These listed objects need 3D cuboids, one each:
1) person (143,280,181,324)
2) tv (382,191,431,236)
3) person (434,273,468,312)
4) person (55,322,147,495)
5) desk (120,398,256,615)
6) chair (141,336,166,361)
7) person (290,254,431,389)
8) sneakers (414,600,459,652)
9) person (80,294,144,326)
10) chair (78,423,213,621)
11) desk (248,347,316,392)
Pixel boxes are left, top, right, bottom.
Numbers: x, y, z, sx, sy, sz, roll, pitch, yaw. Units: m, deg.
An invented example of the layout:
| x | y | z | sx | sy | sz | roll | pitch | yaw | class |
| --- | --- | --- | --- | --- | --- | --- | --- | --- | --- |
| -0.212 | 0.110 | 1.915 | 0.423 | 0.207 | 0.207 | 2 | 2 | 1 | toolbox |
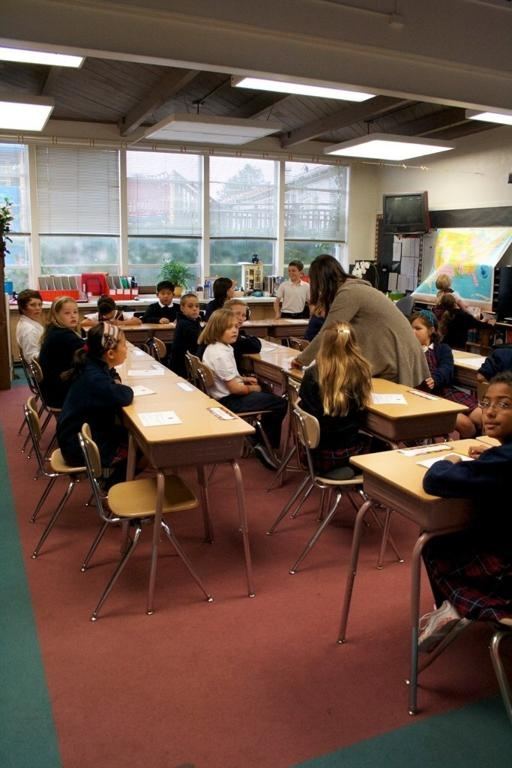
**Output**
| x | y | z | sx | sy | sz | roll | pitch | yaw | class |
| --- | --- | --- | --- | --- | --- | --- | --- | --- | --- |
| -1.223 | -1.019 | 6.970 | 0.578 | 0.734 | 0.738 | 1 | 17 | -12 | person |
| 2.670 | -3.019 | 9.468 | 0.467 | 0.665 | 0.836 | -11 | 14 | -36 | tv |
| 2.195 | -1.049 | 6.001 | 0.329 | 0.417 | 1.199 | 3 | 7 | 21 | person |
| -0.786 | 0.198 | 2.860 | 0.538 | 1.019 | 0.432 | -8 | 10 | -23 | person |
| -0.349 | 0.615 | 2.605 | 0.325 | 0.530 | 0.820 | -2 | 10 | -17 | desk |
| -1.073 | -0.387 | 5.835 | 0.272 | 0.333 | 0.348 | -1 | 7 | -16 | chair |
| 0.622 | -0.282 | 3.578 | 0.826 | 1.125 | 0.625 | -8 | 13 | 2 | person |
| 0.581 | 0.745 | 1.693 | 0.164 | 0.057 | 0.093 | -8 | 20 | -44 | sneakers |
| -1.640 | -0.756 | 5.797 | 0.592 | 0.314 | 0.804 | -1 | 10 | -3 | person |
| -0.479 | 0.496 | 2.729 | 0.813 | 1.049 | 0.663 | -5 | 16 | -18 | chair |
| 0.184 | -0.155 | 4.389 | 0.326 | 0.304 | 0.635 | -2 | 19 | -25 | desk |
